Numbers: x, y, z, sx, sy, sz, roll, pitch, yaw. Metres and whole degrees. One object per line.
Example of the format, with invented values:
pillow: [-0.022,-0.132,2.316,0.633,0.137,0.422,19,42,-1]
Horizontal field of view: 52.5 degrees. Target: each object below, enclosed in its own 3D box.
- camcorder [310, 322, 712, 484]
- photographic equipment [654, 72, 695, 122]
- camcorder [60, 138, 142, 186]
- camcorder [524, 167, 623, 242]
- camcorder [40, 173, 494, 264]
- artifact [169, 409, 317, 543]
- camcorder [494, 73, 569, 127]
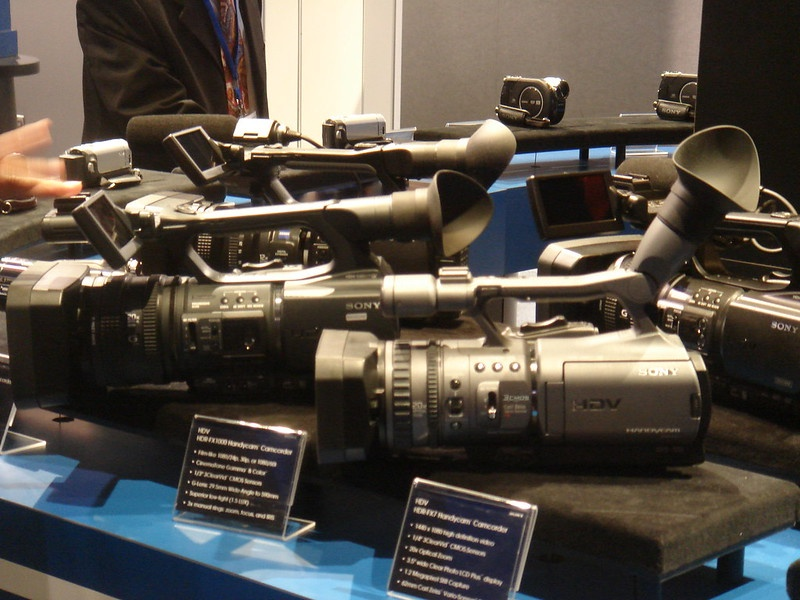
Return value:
camcorder: [0.186,0.140,1.405,0.512,0.189,0.299,0,4,3]
photographic equipment: [1.352,-1.004,4.032,0.150,0.217,0.343,-5,20,-7]
camcorder: [-0.889,-0.415,2.498,0.176,0.121,0.234,5,21,24]
camcorder: [0.413,-0.234,1.970,0.219,0.148,0.100,-7,21,-15]
camcorder: [-0.223,-0.184,1.686,0.793,0.187,0.252,-2,20,0]
artifact: [-0.278,0.322,1.525,0.259,0.195,0.132,3,5,32]
camcorder: [0.593,-0.943,3.740,0.301,0.219,0.150,13,34,32]
